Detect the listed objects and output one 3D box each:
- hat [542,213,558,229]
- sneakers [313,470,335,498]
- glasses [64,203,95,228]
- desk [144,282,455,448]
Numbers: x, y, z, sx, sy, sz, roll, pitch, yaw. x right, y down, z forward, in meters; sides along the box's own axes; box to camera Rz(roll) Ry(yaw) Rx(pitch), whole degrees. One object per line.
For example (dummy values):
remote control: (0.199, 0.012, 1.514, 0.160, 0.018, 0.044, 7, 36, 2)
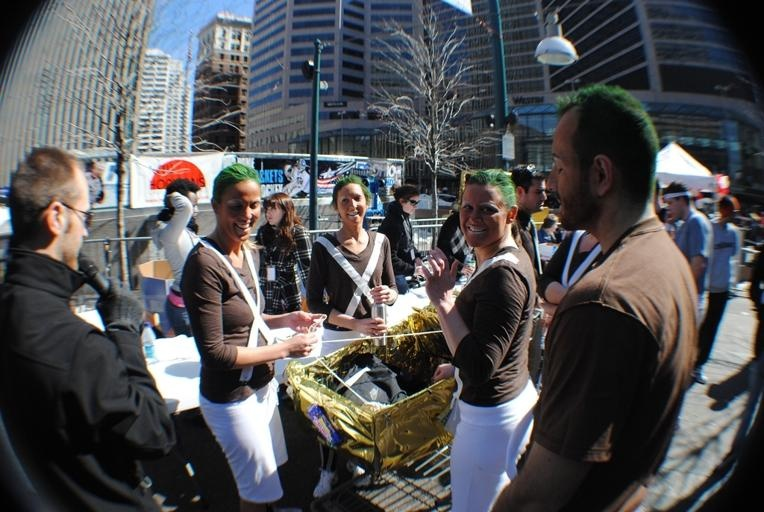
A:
hat: (2.233, -0.454, 6.726, 0.199, 0.274, 0.270, -3, 5, 7)
sneakers: (-0.379, 1.535, 3.434, 0.130, 0.182, 0.087, -7, -30, 31)
glasses: (-1.176, -0.153, 1.973, 0.076, 0.024, 0.078, 23, 4, 6)
desk: (-0.189, 0.575, 2.881, 1.699, 0.642, 1.026, 1, 2, -45)
